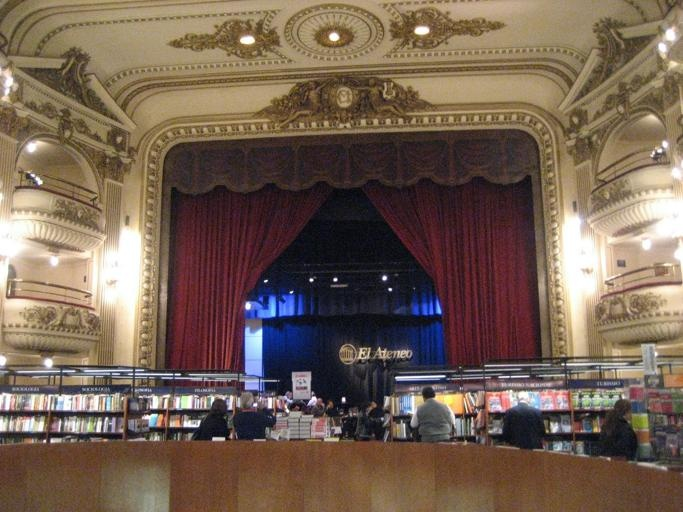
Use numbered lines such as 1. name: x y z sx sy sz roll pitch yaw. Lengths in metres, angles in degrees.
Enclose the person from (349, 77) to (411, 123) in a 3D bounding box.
1. person: 0.875 -3.682 13.753 1.399 0.851 0.393 -2 -9 -3
